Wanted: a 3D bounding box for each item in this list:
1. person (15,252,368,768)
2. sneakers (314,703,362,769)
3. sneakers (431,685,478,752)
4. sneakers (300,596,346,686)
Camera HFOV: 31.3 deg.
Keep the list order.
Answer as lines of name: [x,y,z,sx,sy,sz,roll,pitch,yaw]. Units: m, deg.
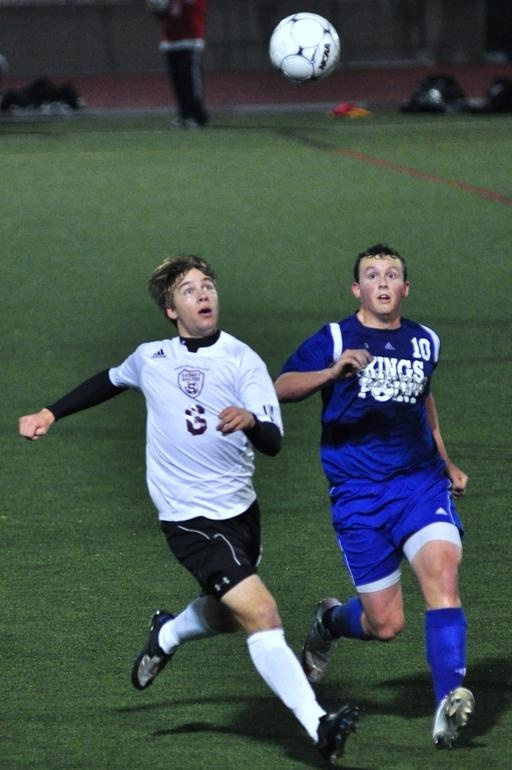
person: [-0.112,0.227,2.301,0.459,1.072,1.108,-9,15,-34]
sneakers: [0.176,0.770,2.013,0.072,0.155,0.115,23,37,-14]
sneakers: [0.448,0.764,2.100,0.096,0.138,0.071,-6,14,-26]
sneakers: [0.176,0.779,2.785,0.102,0.244,0.194,-5,9,-31]
